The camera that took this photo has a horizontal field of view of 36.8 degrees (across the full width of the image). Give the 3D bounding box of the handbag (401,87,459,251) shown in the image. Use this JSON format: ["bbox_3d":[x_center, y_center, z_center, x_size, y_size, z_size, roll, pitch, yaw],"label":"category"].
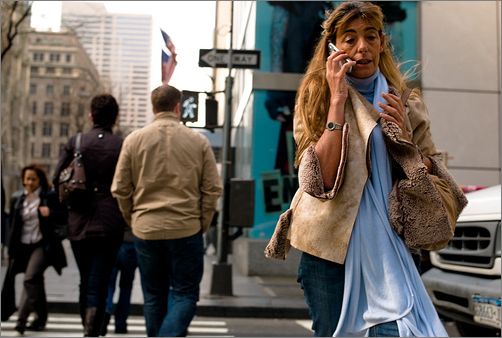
[{"bbox_3d":[2.012,0.324,8.048,0.254,0.949,0.306,2,5,-5],"label":"handbag"}]

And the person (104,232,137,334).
[{"bbox_3d":[-1.916,1.677,11.333,0.522,1.495,0.603,6,8,5],"label":"person"}]

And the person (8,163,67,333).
[{"bbox_3d":[-3.337,1.063,11.646,1.226,3.386,0.648,2,-3,-23],"label":"person"}]

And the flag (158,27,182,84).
[{"bbox_3d":[-1.495,-2.083,13.651,0.310,1.004,0.817,1,4,-7],"label":"flag"}]

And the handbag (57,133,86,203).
[{"bbox_3d":[-2.431,0.009,10.284,0.381,1.021,0.292,1,4,-16],"label":"handbag"}]

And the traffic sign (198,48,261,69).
[{"bbox_3d":[-0.410,-2.175,14.550,1.175,0.368,0.240,2,4,-6],"label":"traffic sign"}]
